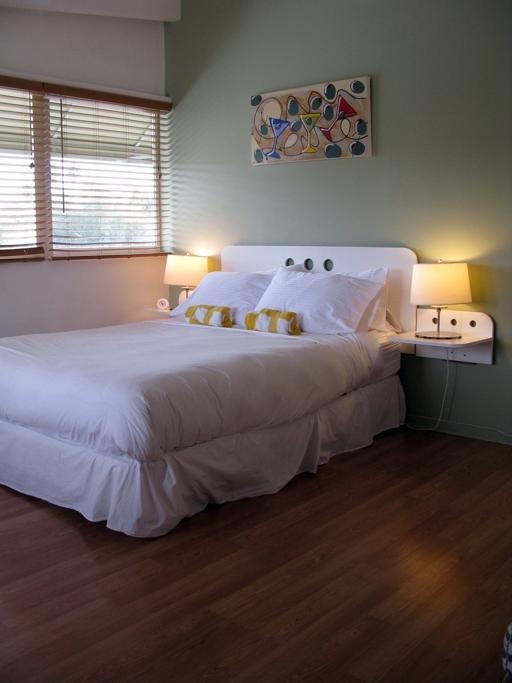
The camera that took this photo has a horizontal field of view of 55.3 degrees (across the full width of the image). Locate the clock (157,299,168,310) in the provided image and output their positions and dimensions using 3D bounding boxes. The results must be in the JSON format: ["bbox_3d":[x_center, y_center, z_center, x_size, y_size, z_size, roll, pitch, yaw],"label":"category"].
[{"bbox_3d":[-0.824,-0.329,4.352,0.097,0.106,0.076,3,3,25],"label":"clock"}]
